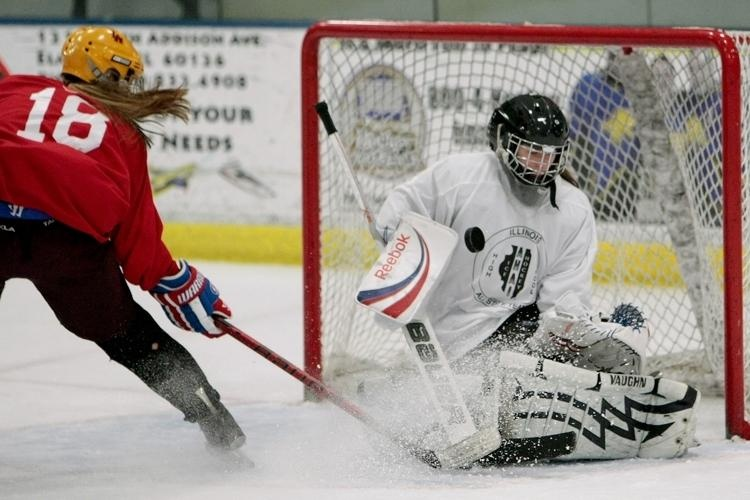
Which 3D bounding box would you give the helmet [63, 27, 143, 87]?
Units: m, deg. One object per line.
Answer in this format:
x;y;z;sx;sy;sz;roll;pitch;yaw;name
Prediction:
-1.187;-0.846;4.874;0.310;0.232;0.242;0;10;-22;helmet

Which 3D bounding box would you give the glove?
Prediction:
-0.800;0.245;4.984;0.227;0.422;0.166;-54;13;-23;glove
